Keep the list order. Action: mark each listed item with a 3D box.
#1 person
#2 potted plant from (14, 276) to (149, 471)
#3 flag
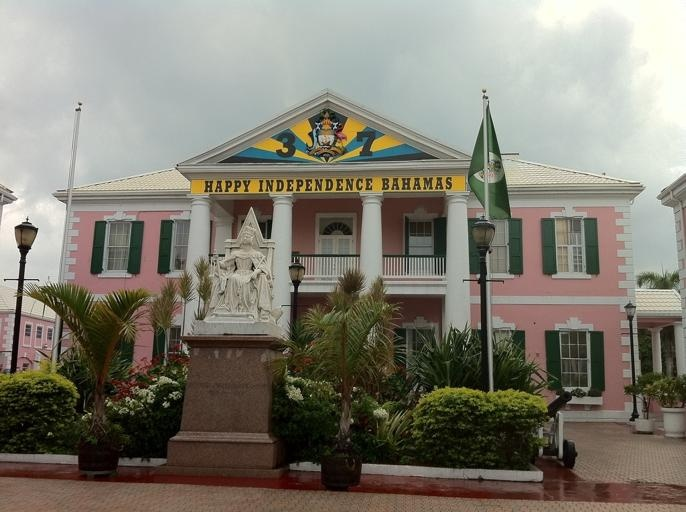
[{"bbox_3d":[-1.909,0.282,11.578,1.133,1.649,0.935,4,6,-4],"label":"person"},{"bbox_3d":[-4.381,2.150,10.885,1.600,3.221,1.081,9,7,33],"label":"potted plant"},{"bbox_3d":[3.798,-2.438,15.688,1.072,2.929,1.699,6,6,11],"label":"flag"}]
